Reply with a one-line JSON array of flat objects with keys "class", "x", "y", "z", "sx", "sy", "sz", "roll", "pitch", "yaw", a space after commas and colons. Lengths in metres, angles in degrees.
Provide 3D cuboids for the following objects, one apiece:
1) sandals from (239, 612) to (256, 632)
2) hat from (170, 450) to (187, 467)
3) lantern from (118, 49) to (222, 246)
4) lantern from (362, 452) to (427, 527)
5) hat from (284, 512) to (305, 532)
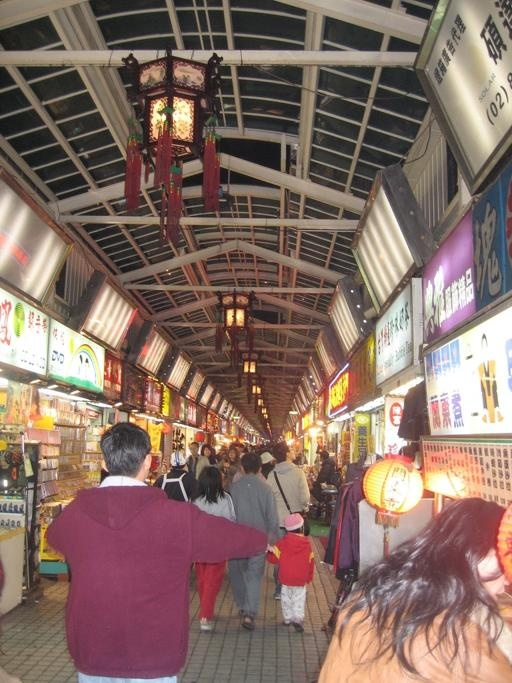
[{"class": "sandals", "x": -0.080, "y": 2.908, "z": 4.434, "sx": 0.091, "sy": 0.117, "sz": 0.262, "roll": 4, "pitch": -44, "yaw": 17}, {"class": "hat", "x": -0.895, "y": 1.329, "z": 4.845, "sx": 0.132, "sy": 0.235, "sz": 0.101, "roll": 0, "pitch": 2, "yaw": -3}, {"class": "lantern", "x": -0.916, "y": -2.068, "z": 4.583, "sx": 0.984, "sy": 1.905, "sz": 0.859, "roll": 0, "pitch": -3, "yaw": 17}, {"class": "lantern", "x": 1.039, "y": 1.078, "z": 3.203, "sx": 0.403, "sy": 0.524, "sz": 0.442, "roll": -1, "pitch": -15, "yaw": 17}, {"class": "hat", "x": 0.406, "y": 1.934, "z": 4.568, "sx": 0.188, "sy": 0.187, "sz": 0.173, "roll": 1, "pitch": -14, "yaw": -1}]
